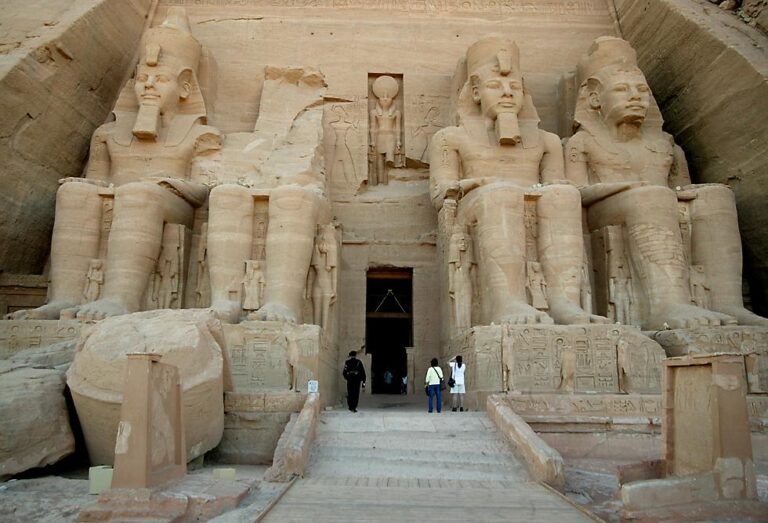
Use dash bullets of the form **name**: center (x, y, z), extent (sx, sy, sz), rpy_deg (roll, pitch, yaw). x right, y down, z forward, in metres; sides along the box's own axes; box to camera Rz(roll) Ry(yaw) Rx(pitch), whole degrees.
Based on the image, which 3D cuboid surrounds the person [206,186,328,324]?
- **person**: center (-1.592, -0.147, 7.258), extent (1.464, 1.778, 1.003), rpy_deg (2, -2, -4)

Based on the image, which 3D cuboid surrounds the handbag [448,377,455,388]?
- **handbag**: center (0.831, 1.494, 6.942), extent (0.075, 0.142, 0.143), rpy_deg (2, -2, -3)

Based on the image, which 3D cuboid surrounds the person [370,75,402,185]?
- **person**: center (0.044, -2.425, 10.481), extent (0.571, 2.080, 0.421), rpy_deg (2, -3, -1)
